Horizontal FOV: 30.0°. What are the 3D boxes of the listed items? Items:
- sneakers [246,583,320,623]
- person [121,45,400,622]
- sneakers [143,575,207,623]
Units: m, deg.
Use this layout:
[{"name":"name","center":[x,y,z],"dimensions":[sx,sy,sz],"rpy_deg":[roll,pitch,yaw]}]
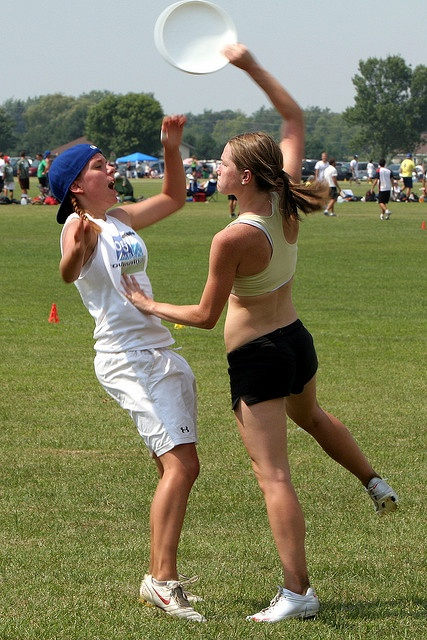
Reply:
[{"name":"sneakers","center":[0.291,1.086,3.065],"dimensions":[0.323,0.122,0.099],"rpy_deg":[-3,-3,-5]},{"name":"person","center":[0.308,0.176,3.366],"dimensions":[0.921,1.872,0.705],"rpy_deg":[0,3,-45]},{"name":"sneakers","center":[-0.148,1.066,3.062],"dimensions":[0.304,0.113,0.096],"rpy_deg":[13,-3,31]}]
